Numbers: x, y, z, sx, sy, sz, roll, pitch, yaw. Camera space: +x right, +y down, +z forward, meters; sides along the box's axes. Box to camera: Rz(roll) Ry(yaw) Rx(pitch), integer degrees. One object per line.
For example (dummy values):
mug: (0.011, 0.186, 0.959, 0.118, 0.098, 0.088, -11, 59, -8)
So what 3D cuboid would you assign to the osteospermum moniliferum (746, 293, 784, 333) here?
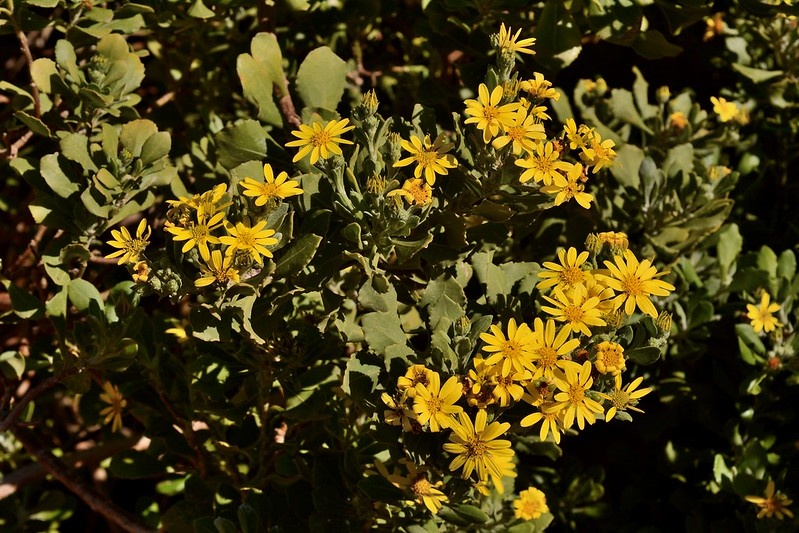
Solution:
osteospermum moniliferum: (1.096, 0.140, 2.406, 0.078, 0.120, 0.129, -8, -7, 36)
